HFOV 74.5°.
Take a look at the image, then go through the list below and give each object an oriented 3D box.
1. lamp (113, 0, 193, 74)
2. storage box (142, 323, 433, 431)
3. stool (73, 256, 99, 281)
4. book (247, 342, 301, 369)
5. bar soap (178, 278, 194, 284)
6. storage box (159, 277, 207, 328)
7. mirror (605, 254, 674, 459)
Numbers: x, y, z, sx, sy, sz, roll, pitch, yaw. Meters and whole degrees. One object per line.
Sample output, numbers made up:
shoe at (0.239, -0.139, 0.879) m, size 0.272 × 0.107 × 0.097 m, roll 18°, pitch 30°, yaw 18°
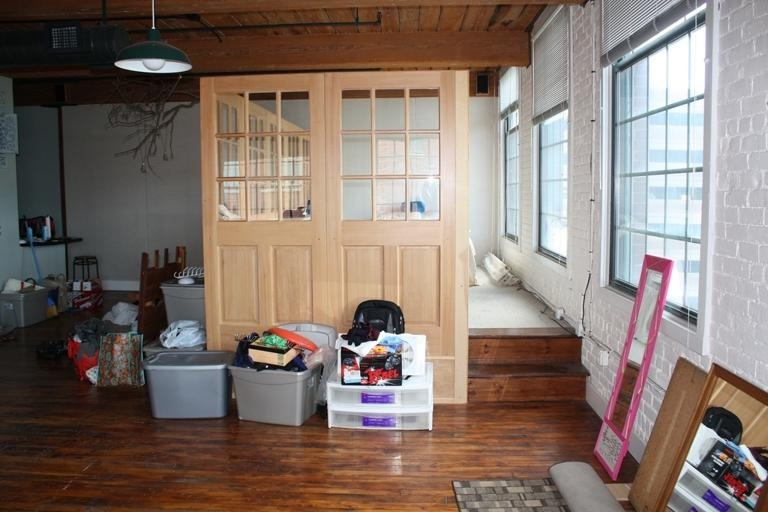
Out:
lamp at (-1.926, -1.799, 4.164) m, size 0.511 × 0.503 × 0.488 m, roll 6°, pitch 9°, yaw 41°
storage box at (-0.800, 1.106, 4.708) m, size 2.494 × 0.838 × 0.485 m, roll 0°, pitch 7°, yaw 4°
stool at (-5.676, 0.208, 9.544) m, size 0.541 × 0.440 × 0.151 m, roll 1°, pitch 7°, yaw 7°
book at (-1.003, 0.891, 4.505) m, size 0.279 × 0.095 × 0.255 m, roll 3°, pitch 5°, yaw 10°
bar soap at (-2.201, 0.268, 5.638) m, size 0.101 × 0.045 × 0.099 m, roll 2°, pitch 1°, yaw 24°
storage box at (-2.188, 0.522, 5.792) m, size 0.587 × 0.599 × 0.483 m, roll -1°, pitch -1°, yaw -1°
mirror at (1.929, 0.689, 3.810) m, size 0.301 × 1.374 × 0.407 m, roll 0°, pitch 7°, yaw 4°
